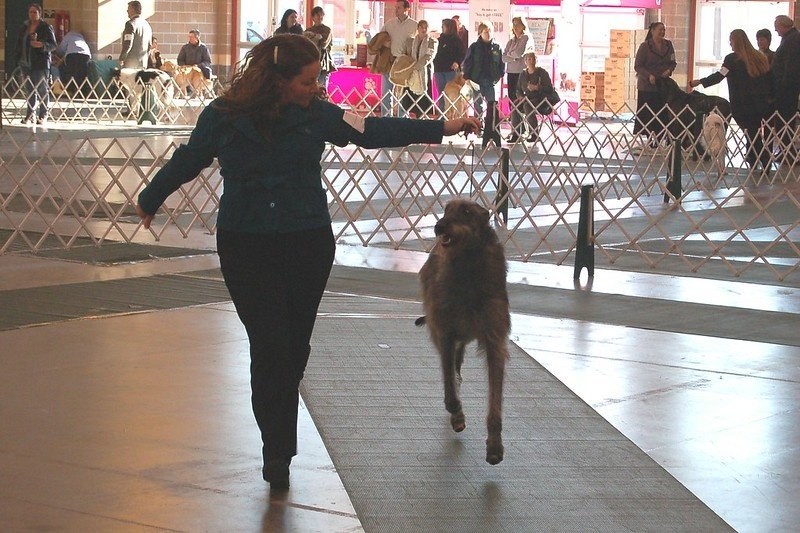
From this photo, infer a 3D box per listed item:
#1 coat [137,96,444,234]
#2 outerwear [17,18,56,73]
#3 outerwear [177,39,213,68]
[{"bbox_3d":[-0.580,-0.523,4.248,1.436,0.633,0.496,-3,14,-18],"label":"coat"},{"bbox_3d":[-9.269,-5.552,21.346,0.875,1.251,0.386,2,13,3],"label":"outerwear"},{"bbox_3d":[-6.392,-6.804,26.426,1.298,1.032,0.714,0,0,-1],"label":"outerwear"}]
